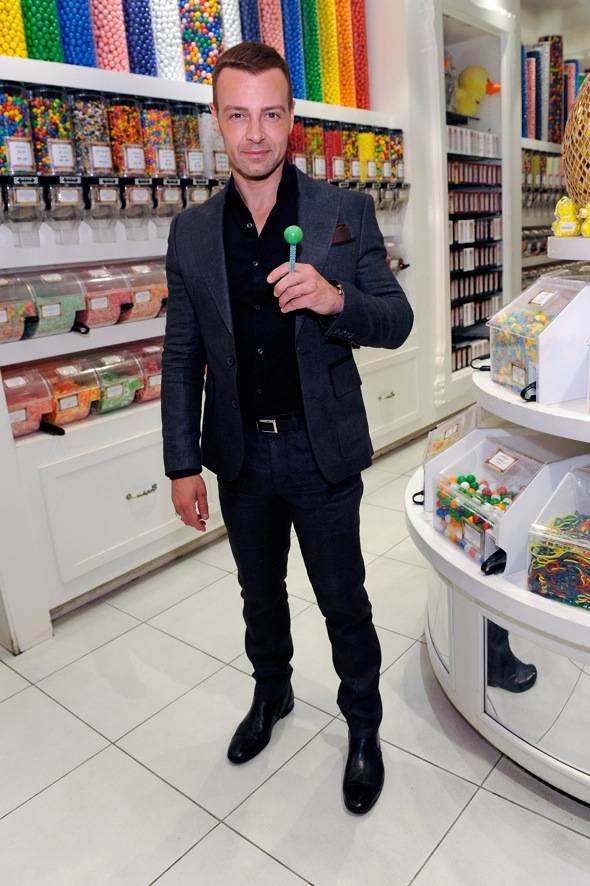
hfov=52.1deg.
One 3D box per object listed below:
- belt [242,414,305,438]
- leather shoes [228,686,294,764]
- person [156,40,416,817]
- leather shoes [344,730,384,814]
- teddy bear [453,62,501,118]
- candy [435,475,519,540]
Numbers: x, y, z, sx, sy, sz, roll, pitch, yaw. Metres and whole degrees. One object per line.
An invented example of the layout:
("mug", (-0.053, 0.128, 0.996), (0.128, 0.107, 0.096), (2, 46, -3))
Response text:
("belt", (-0.045, -0.035, 1.193), (0.124, 0.039, 0.028), (-1, 13, 20))
("leather shoes", (-0.085, 0.720, 1.594), (0.081, 0.103, 0.246), (2, 11, 27))
("person", (0.001, 0.123, 1.306), (0.394, 1.386, 0.530), (-15, 16, -39))
("leather shoes", (0.152, 0.743, 1.362), (0.061, 0.068, 0.178), (-2, 10, 7))
("teddy bear", (1.307, -2.580, 4.410), (0.307, 0.321, 0.174), (-8, 12, -12))
("candy", (0.382, 0.130, 1.325), (0.139, 0.087, 0.132), (-18, 23, -41))
